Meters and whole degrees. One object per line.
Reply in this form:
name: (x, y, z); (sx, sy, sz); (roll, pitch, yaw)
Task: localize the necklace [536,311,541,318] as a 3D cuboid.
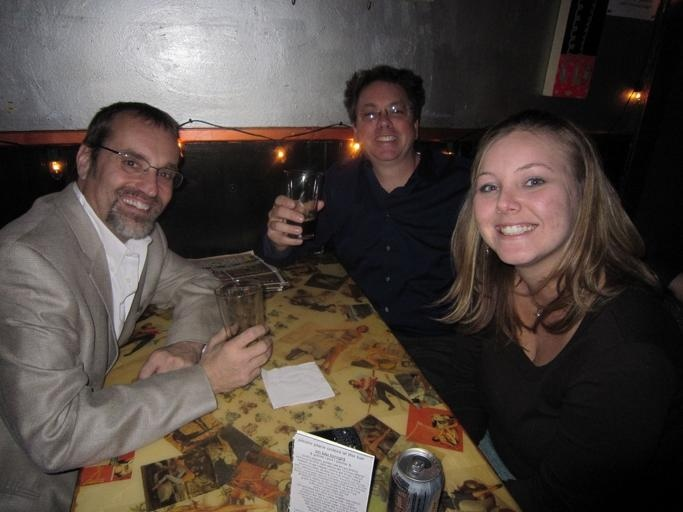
necklace: (0.813, 0.245, 2.071); (0.023, 0.016, 0.028); (-7, 9, 3)

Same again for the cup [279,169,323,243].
cup: (-0.179, -0.243, 2.408); (0.169, 0.333, 0.109); (-1, 26, -5)

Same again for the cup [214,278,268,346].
cup: (-0.369, 0.234, 2.094); (0.220, 0.221, 0.222); (-3, 15, 1)

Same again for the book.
book: (-0.563, 0.082, 2.925); (0.312, 0.114, 0.410); (-14, 24, -41)

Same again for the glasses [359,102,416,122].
glasses: (0.254, -0.818, 2.857); (0.131, 0.060, 0.168); (5, 13, 43)
